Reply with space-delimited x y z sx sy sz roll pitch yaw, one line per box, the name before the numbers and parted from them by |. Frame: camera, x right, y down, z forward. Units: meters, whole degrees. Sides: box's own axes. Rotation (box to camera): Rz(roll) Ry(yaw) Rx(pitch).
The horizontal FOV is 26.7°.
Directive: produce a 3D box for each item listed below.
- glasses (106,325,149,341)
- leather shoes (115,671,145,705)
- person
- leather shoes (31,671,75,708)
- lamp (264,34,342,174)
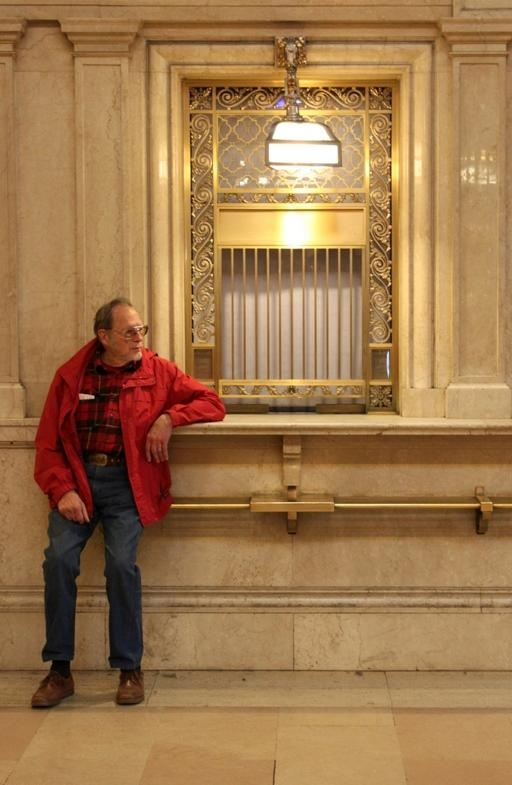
glasses | -0.510 -0.260 4.545 0.082 0.056 0.166 6 15 28
leather shoes | -0.515 1.205 4.443 0.112 0.114 0.156 -2 13 -6
person | -0.590 0.363 4.524 0.617 1.458 0.773 6 15 26
leather shoes | -0.827 1.220 4.418 0.082 0.092 0.214 -4 -10 18
lamp | 0.162 -1.251 4.685 0.367 0.581 0.363 -3 1 -1
